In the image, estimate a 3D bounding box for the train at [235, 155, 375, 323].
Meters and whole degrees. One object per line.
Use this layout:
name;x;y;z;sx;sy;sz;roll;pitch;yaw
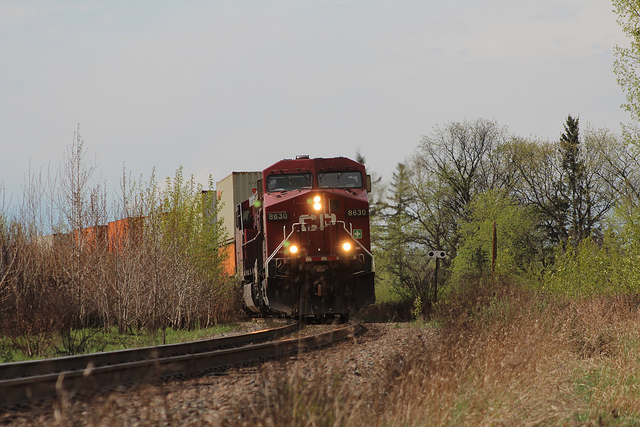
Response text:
train;-0.424;1.145;24.746;4.766;6.235;3.317;1;8;15

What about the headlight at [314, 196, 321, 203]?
headlight;-0.073;-0.512;24.080;0.163;0.217;0.160;0;1;-42
